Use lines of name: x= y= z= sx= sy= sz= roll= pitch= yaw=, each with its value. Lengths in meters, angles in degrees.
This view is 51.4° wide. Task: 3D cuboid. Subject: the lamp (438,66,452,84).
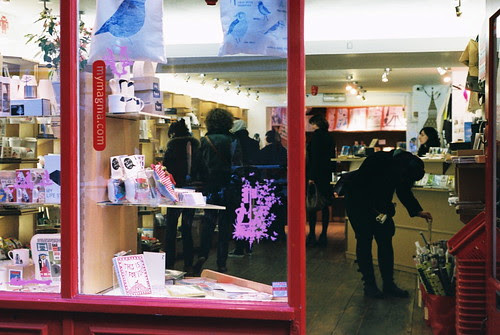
lamp: x=2.966 y=-1.420 z=7.935 sx=0.141 sy=0.147 sz=0.269 roll=-12 pitch=-31 yaw=25

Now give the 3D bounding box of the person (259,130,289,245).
person: x=0.192 y=0.129 z=3.958 sx=0.100 sy=0.812 sz=0.234 roll=-8 pitch=12 yaw=-42

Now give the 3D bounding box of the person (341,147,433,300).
person: x=1.654 y=0.669 z=6.634 sx=1.083 sy=1.792 sz=0.637 roll=1 pitch=9 yaw=9

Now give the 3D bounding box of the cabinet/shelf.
cabinet/shelf: x=-0.703 y=-0.251 z=4.335 sx=1.171 sy=0.797 sz=0.658 roll=2 pitch=2 yaw=8

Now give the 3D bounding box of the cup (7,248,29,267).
cup: x=-1.886 y=0.746 z=4.261 sx=0.174 sy=0.127 sz=0.114 roll=-1 pitch=-1 yaw=6

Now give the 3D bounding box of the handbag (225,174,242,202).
handbag: x=-0.125 y=0.157 z=4.027 sx=0.120 sy=0.208 sz=0.049 roll=9 pitch=1 yaw=22

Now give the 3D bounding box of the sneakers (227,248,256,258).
sneakers: x=-0.069 y=0.662 z=4.098 sx=0.195 sy=0.080 sz=0.069 roll=2 pitch=-1 yaw=24

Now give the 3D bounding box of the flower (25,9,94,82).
flower: x=-1.520 y=-1.033 z=4.361 sx=0.574 sy=0.690 sz=0.441 roll=-2 pitch=8 yaw=-2
